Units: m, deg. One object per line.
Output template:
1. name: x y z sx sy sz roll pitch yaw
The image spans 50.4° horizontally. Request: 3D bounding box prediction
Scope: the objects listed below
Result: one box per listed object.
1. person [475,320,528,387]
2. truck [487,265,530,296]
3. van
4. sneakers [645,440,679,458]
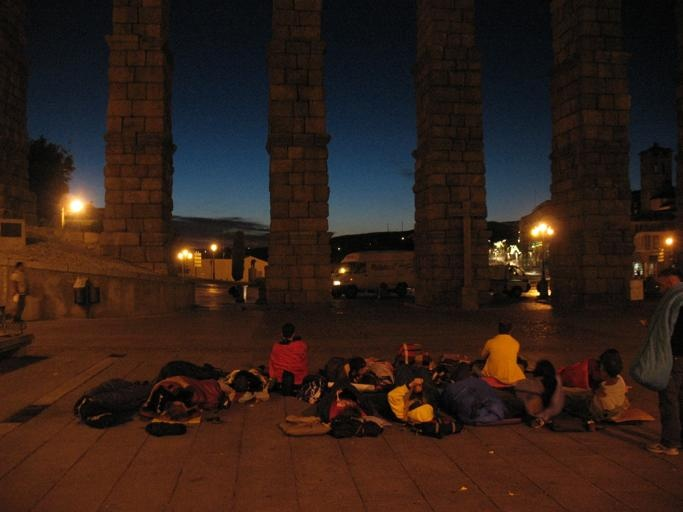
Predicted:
1. person: 3.530 2.028 15.841 1.032 1.178 1.137 -2 7 -18
2. truck: 8.603 1.173 36.858 2.839 1.450 1.431 -1 5 42
3. van: 1.421 0.793 36.554 4.819 2.050 2.192 0 5 -37
4. sneakers: 6.024 3.608 13.606 0.563 0.234 0.221 3 1 17
